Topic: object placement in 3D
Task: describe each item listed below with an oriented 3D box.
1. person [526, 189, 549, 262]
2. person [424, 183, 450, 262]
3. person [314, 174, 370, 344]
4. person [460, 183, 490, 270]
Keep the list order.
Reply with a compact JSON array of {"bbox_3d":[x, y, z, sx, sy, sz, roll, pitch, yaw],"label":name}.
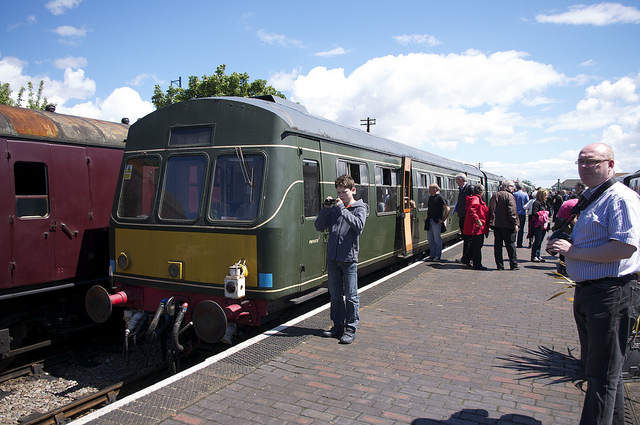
[{"bbox_3d":[7.056,0.406,13.457,0.506,2.240,1.331,3,9,27],"label":"person"},{"bbox_3d":[3.724,0.334,13.403,0.632,2.463,0.738,0,8,5],"label":"person"},{"bbox_3d":[0.369,0.761,6.969,0.784,2.725,0.577,1,8,11],"label":"person"},{"bbox_3d":[4.507,0.438,12.033,0.695,2.442,1.053,2,8,20],"label":"person"}]
